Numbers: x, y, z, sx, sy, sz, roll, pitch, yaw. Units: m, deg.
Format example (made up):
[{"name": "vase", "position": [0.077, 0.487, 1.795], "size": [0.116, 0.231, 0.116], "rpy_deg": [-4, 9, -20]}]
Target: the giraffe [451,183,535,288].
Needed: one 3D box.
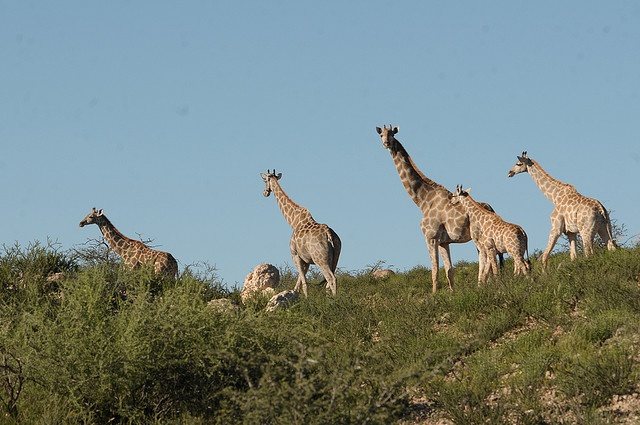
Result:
[{"name": "giraffe", "position": [3.587, 0.510, 22.000], "size": [0.511, 1.774, 2.106], "rpy_deg": [-16, 21, -41]}]
